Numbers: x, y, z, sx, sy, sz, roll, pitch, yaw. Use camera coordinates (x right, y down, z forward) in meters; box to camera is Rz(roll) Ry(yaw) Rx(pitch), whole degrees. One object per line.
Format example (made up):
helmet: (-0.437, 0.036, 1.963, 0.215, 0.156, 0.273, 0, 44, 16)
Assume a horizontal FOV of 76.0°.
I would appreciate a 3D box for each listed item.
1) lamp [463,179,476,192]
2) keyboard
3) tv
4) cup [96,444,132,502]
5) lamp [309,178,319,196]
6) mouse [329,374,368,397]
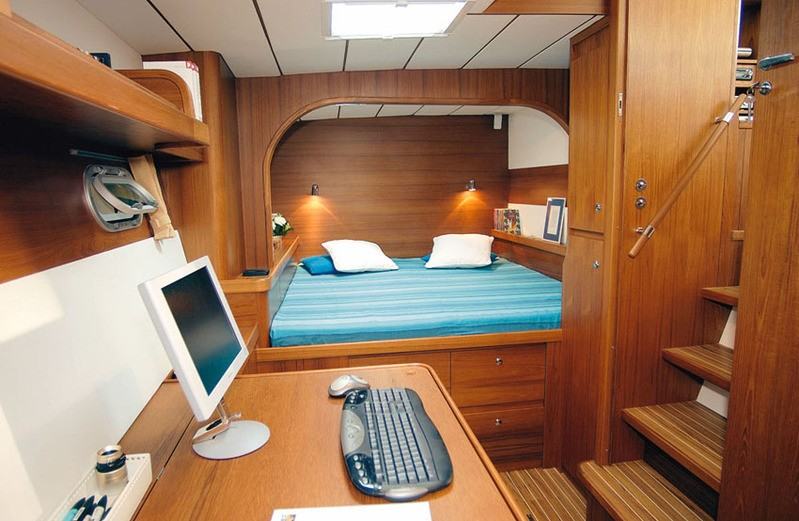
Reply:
lamp: (0.738, -0.780, 5.392, 0.117, 0.114, 0.119, 0, 2, -4)
keyboard: (-0.033, 0.654, 1.916, 0.377, 0.046, 0.616, -3, 19, -16)
tv: (-0.795, 0.401, 2.032, 0.395, 0.730, 0.575, -3, 18, 1)
cup: (-0.917, 0.682, 1.634, 0.109, 0.130, 0.143, 0, 0, -7)
lamp: (-0.864, -0.723, 5.212, 0.079, 0.158, 0.084, 4, 13, 21)
mouse: (-0.222, 0.530, 2.159, 0.123, 0.042, 0.086, -3, 6, -37)
